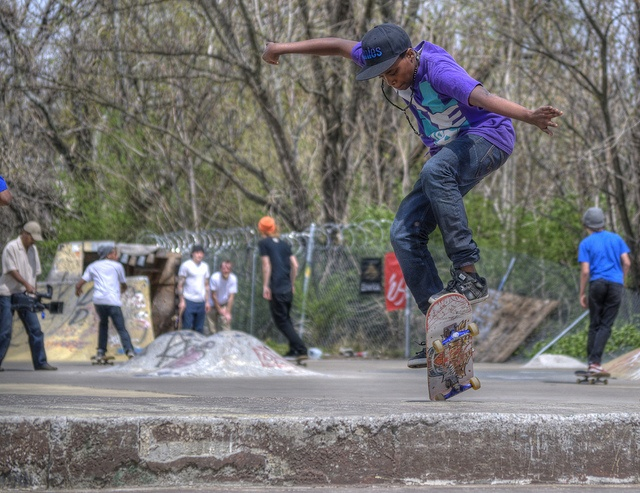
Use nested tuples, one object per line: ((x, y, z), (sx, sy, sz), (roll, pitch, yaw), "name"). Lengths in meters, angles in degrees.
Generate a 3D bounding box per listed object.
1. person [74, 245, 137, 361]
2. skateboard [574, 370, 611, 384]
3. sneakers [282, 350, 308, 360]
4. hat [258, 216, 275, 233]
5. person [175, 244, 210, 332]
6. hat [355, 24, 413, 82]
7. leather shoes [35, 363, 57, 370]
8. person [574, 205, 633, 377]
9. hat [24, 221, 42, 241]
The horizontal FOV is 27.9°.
((-3.449, 0.888, 20.691), (0.866, 1.806, 0.856), (-1, 0, -12), "person")
((3.819, 1.791, 18.035), (0.460, 0.152, 0.649), (-2, 0, 14), "skateboard")
((-0.387, 1.728, 20.781), (0.380, 0.184, 0.145), (13, 8, 18), "sneakers")
((-0.851, -0.352, 21.154), (0.107, 0.228, 0.297), (7, -15, 33), "hat")
((-2.089, 0.700, 21.802), (0.673, 1.378, 0.527), (-1, 0, -31), "person")
((0.659, -2.247, 14.704), (0.531, 0.434, 0.851), (-6, 27, 40), "hat")
((-4.112, 1.789, 19.389), (0.322, 0.146, 0.125), (0, 0, -6), "leather shoes")
((4.010, 0.579, 18.182), (0.661, 1.897, 0.728), (-1, 0, 12), "person")
((-4.286, -0.266, 19.219), (0.307, 0.184, 0.202), (40, 21, 12), "hat")
